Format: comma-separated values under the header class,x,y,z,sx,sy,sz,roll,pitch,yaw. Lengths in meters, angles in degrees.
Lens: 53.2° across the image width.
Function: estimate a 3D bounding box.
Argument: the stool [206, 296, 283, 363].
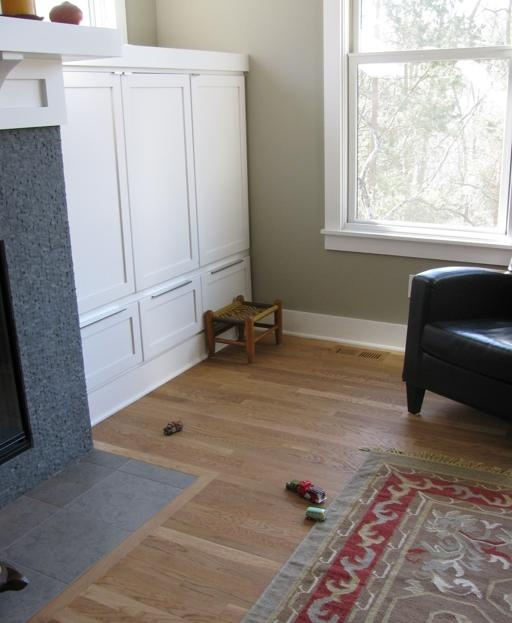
class,x,y,z,sx,sy,sz,roll,pitch,yaw
stool,-0.063,0.068,3.212,0.417,0.332,0.437,8,20,29
